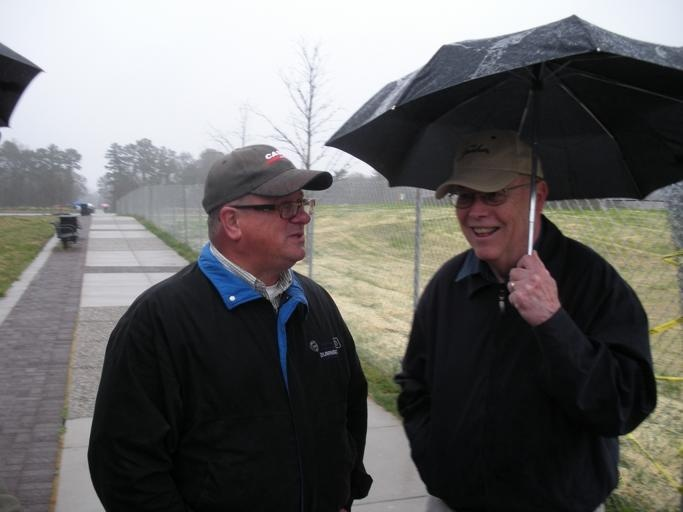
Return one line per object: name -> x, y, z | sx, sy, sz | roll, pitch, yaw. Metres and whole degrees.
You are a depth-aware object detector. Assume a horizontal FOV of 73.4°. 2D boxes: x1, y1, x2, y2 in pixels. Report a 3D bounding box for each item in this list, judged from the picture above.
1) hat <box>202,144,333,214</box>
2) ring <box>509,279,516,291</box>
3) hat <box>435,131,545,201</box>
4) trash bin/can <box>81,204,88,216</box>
hat -> -0.370, -0.401, 2.176 | 0.681, 0.263, 0.425 | -4, 13, 26
ring -> 0.670, 0.115, 1.800 | 0.034, 0.053, 0.034 | 4, -6, 0
hat -> 0.716, -0.465, 2.246 | 0.415, 0.290, 0.603 | 3, 10, 44
trash bin/can -> -21.598, -3.886, 38.256 | 0.458, 0.955, 0.980 | -5, 10, -28
